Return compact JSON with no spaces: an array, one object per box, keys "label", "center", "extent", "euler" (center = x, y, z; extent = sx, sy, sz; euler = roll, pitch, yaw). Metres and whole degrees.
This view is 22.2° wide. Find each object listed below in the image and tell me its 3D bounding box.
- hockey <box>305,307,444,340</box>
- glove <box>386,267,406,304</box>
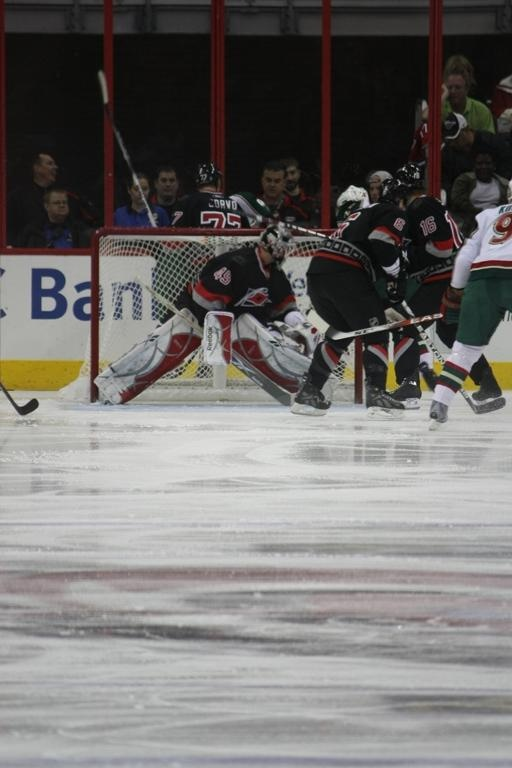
[{"label":"hockey","center":[0.518,-0.261,5.550],"extent":[0.496,0.116,0.280],"euler":[-1,15,-8]},{"label":"glove","center":[0.612,-0.431,5.751],"extent":[0.115,0.150,0.145],"euler":[-2,5,-4]}]
